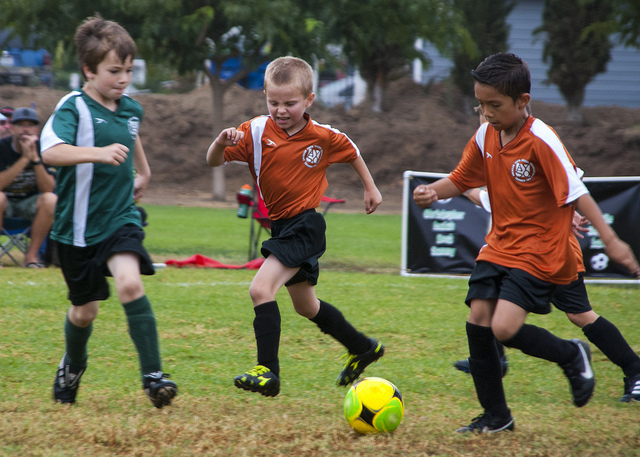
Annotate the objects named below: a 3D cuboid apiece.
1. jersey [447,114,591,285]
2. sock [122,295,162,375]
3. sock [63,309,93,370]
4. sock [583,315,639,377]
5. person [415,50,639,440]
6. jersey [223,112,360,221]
[{"bbox_3d":[1.395,-0.208,5.674,1.170,1.065,0.777,2,8,23],"label":"jersey"},{"bbox_3d":[-1.189,0.761,5.400,0.216,0.532,0.205,-3,-14,-38],"label":"sock"},{"bbox_3d":[-1.696,0.801,5.567,0.180,0.376,0.121,0,16,-12],"label":"sock"},{"bbox_3d":[2.119,0.857,5.754,0.416,0.427,0.117,6,16,11],"label":"sock"},{"bbox_3d":[1.430,0.073,5.484,0.992,2.500,1.065,-2,16,-18],"label":"person"},{"bbox_3d":[-0.212,-0.436,5.797,0.966,0.737,0.397,2,15,-4],"label":"jersey"}]
